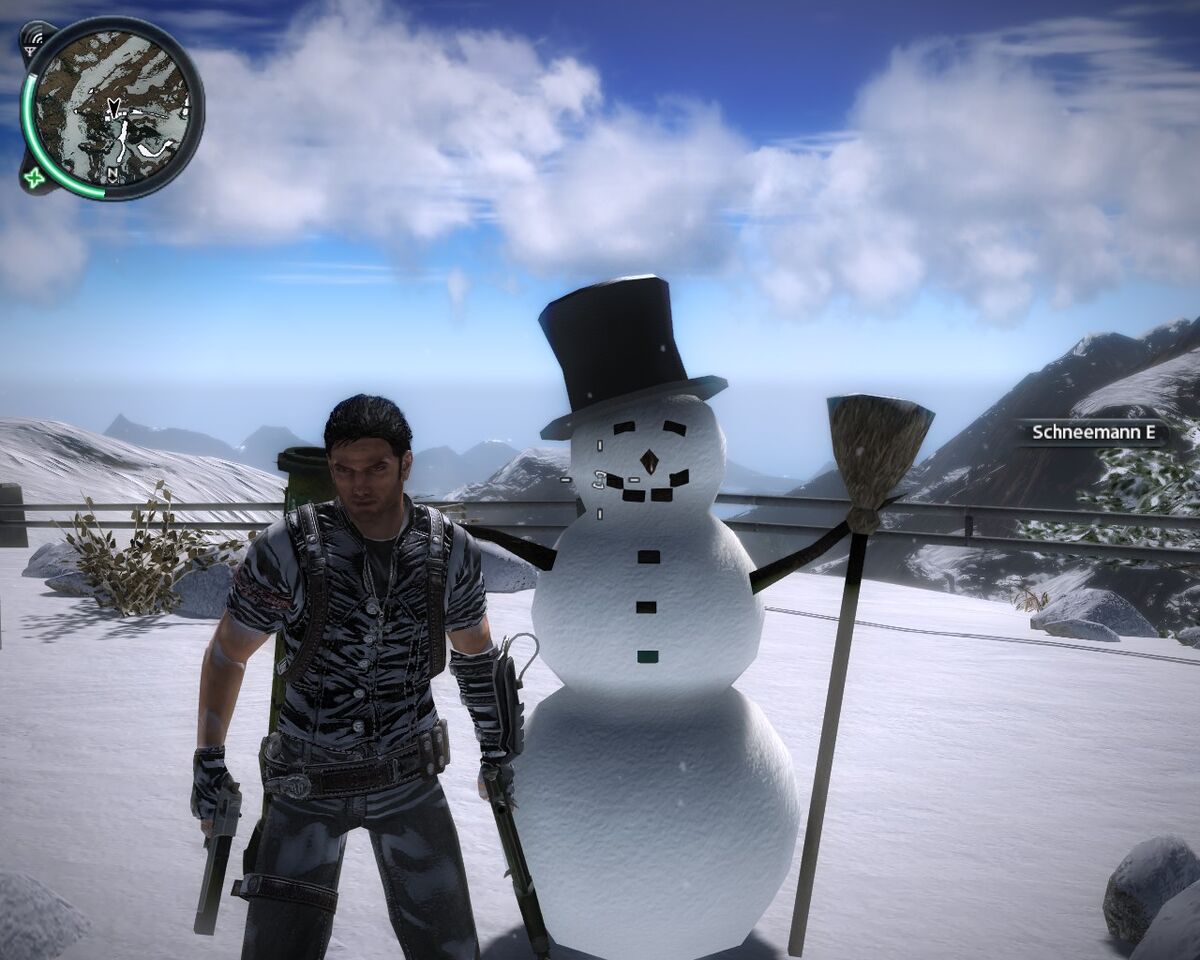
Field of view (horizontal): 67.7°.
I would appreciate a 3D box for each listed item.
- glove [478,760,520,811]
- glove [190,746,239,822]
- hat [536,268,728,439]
[{"bbox_3d":[-0.358,1.105,3.272,0.158,0.200,0.083,13,17,36],"label":"glove"},{"bbox_3d":[-1.224,0.973,2.835,0.168,0.281,0.107,0,4,-9],"label":"glove"},{"bbox_3d":[0.113,-0.465,3.568,0.718,0.394,0.682,-19,-4,-36],"label":"hat"}]
